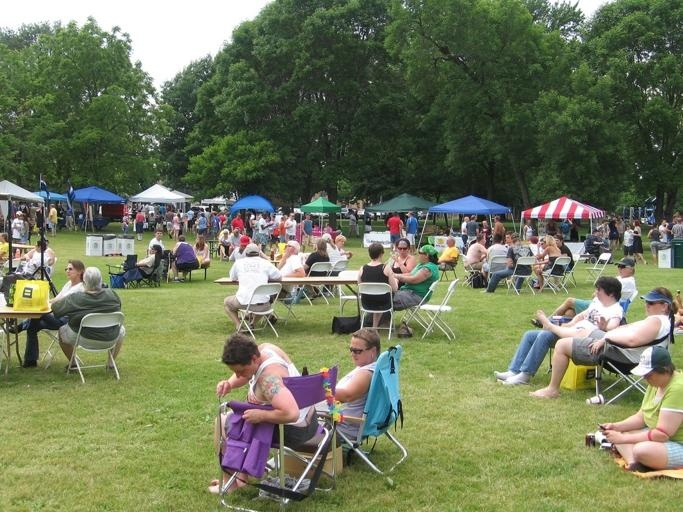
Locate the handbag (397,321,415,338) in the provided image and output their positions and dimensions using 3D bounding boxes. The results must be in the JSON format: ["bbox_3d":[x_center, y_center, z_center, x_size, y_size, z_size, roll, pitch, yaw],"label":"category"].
[{"bbox_3d":[1.156,1.390,16.286,0.313,0.327,0.212,18,-25,-39],"label":"handbag"}]

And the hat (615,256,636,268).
[{"bbox_3d":[6.029,0.123,18.845,0.426,0.235,0.308,10,5,1],"label":"hat"}]

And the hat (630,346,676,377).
[{"bbox_3d":[4.086,1.388,11.693,0.476,0.281,0.313,-6,-1,8],"label":"hat"}]

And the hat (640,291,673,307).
[{"bbox_3d":[4.509,0.597,12.582,0.284,0.101,0.209,10,-6,-5],"label":"hat"}]

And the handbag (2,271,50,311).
[{"bbox_3d":[-5.088,0.580,14.252,0.530,0.527,0.220,0,-14,-5],"label":"handbag"}]

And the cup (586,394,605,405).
[{"bbox_3d":[3.752,2.115,13.090,0.212,0.138,0.089,-13,-39,-4],"label":"cup"}]

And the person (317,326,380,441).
[{"bbox_3d":[0.139,1.734,11.919,0.921,1.371,1.003,-3,-6,-19],"label":"person"}]

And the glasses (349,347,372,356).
[{"bbox_3d":[0.222,1.233,11.610,0.262,0.090,0.080,3,0,26],"label":"glasses"}]

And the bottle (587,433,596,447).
[{"bbox_3d":[3.409,2.493,12.154,0.172,0.176,0.128,4,-3,-41],"label":"bottle"}]

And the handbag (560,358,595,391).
[{"bbox_3d":[3.645,1.809,13.709,0.397,0.569,0.550,-2,9,-24],"label":"handbag"}]
